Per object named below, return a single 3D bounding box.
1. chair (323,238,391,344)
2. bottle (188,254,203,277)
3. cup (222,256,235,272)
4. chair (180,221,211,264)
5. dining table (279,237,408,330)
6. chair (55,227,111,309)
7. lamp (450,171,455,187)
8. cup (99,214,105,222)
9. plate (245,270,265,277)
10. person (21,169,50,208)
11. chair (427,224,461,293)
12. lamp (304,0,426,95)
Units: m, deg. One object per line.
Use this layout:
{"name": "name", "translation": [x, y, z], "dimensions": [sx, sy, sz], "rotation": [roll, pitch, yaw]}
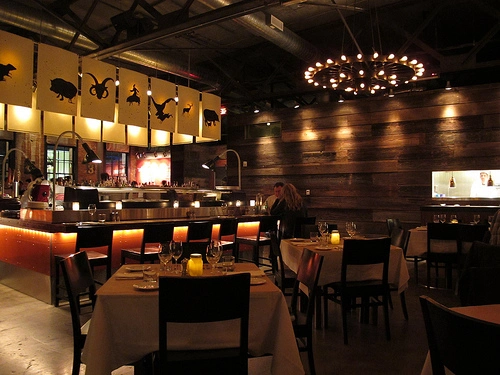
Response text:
{"name": "chair", "translation": [1.270, 1.164, 4.929], "dimensions": [0.731, 1.133, 0.784], "rotation": [13, -4, -10]}
{"name": "bottle", "translation": [-0.526, 0.726, 4.111], "dimensions": [0.156, 0.208, 0.179], "rotation": [1, -7, -9]}
{"name": "cup", "translation": [-0.207, 0.730, 4.137], "dimensions": [0.132, 0.146, 0.131], "rotation": [-1, -2, 0]}
{"name": "chair", "translation": [-0.840, 0.866, 6.759], "dimensions": [0.442, 0.701, 0.456], "rotation": [2, 3, -8]}
{"name": "dining table", "translation": [1.085, 1.219, 5.871], "dimensions": [1.500, 0.730, 1.516], "rotation": [1, -7, -11]}
{"name": "chair", "translation": [-2.329, 1.014, 6.022], "dimensions": [0.722, 1.181, 0.679], "rotation": [7, -17, -5]}
{"name": "lamp", "translation": [4.356, -0.156, 9.357], "dimensions": [0.111, 0.304, 0.070], "rotation": [0, -1, 18]}
{"name": "cup", "translation": [-2.212, 0.456, 6.459], "dimensions": [0.109, 0.152, 0.108], "rotation": [0, 1, 0]}
{"name": "plate", "translation": [0.066, 0.825, 4.177], "dimensions": [0.142, 0.034, 0.144], "rotation": [0, 0, -1]}
{"name": "person", "translation": [-4.120, 0.018, 8.281], "dimensions": [0.412, 0.944, 0.772], "rotation": [8, -18, -33]}
{"name": "chair", "translation": [3.035, 1.057, 6.830], "dimensions": [0.493, 1.002, 0.469], "rotation": [0, -1, 23]}
{"name": "lamp", "translation": [2.296, -2.436, 8.228], "dimensions": [1.426, 1.590, 1.409], "rotation": [-2, 7, -16]}
